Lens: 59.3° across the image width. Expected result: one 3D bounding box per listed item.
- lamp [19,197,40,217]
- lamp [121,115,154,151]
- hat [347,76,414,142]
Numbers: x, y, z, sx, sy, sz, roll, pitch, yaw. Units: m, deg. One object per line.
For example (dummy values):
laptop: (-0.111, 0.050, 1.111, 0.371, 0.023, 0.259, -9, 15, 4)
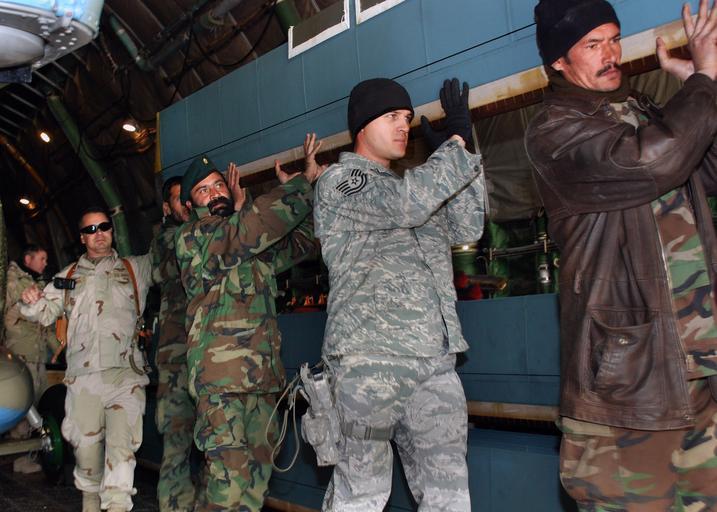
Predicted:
lamp: (-5.558, -0.859, 10.710, 0.165, 0.266, 0.167, -25, -33, -34)
lamp: (-2.826, -1.580, 8.117, 0.524, 0.425, 0.160, -5, -6, 19)
hat: (0.111, -0.770, 3.261, 0.326, 0.277, 0.258, -8, -6, 36)
